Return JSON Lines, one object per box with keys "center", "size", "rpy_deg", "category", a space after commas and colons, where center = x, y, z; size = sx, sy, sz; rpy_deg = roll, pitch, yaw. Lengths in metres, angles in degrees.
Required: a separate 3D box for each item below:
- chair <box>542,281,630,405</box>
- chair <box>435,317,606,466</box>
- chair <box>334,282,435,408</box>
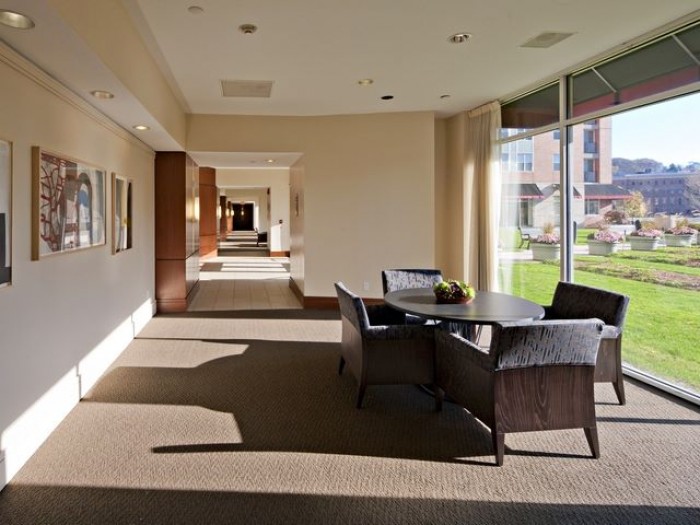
{"center": [1.944, 0.660, 4.112], "size": [0.678, 0.901, 0.933], "rpy_deg": [3, 6, -7], "category": "chair"}
{"center": [1.250, 0.832, 3.509], "size": [0.825, 0.938, 1.128], "rpy_deg": [0, 0, -14], "category": "chair"}
{"center": [0.295, 0.673, 4.171], "size": [0.668, 0.883, 0.923], "rpy_deg": [-2, 5, -11], "category": "chair"}
